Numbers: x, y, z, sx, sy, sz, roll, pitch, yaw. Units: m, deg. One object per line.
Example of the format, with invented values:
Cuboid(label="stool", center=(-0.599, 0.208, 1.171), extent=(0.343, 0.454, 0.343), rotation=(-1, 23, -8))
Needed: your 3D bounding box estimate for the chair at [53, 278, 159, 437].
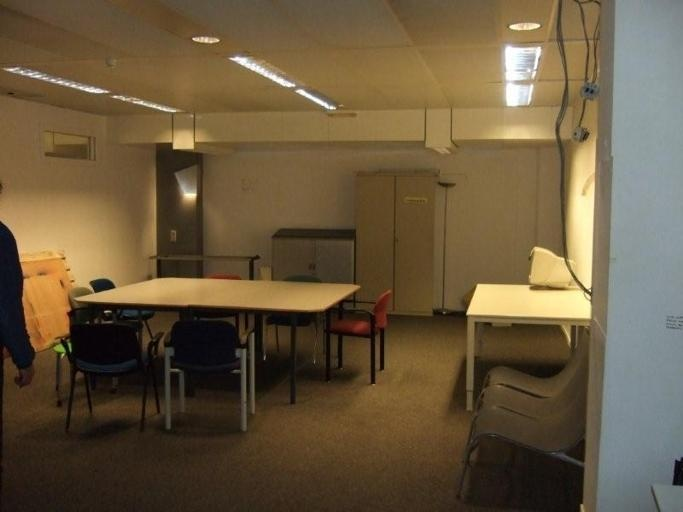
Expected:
Cuboid(label="chair", center=(-1.857, 0.856, 5.650), extent=(0.960, 1.506, 1.028), rotation=(0, 9, 0))

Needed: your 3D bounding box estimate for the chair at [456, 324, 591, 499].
Cuboid(label="chair", center=(1.359, 0.700, 4.588), extent=(0.876, 0.870, 1.770), rotation=(0, 2, 13))

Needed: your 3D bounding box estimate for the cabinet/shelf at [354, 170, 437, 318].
Cuboid(label="cabinet/shelf", center=(0.842, -0.187, 9.706), extent=(1.238, 2.243, 0.355), rotation=(0, 8, 1))

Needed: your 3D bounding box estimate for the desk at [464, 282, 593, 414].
Cuboid(label="desk", center=(1.809, 1.062, 6.015), extent=(0.988, 0.821, 1.567), rotation=(1, 6, 11))

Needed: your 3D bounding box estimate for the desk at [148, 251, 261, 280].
Cuboid(label="desk", center=(-2.232, 0.181, 10.238), extent=(1.837, 0.546, 1.493), rotation=(1, 8, 3))

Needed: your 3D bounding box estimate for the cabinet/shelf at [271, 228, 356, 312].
Cuboid(label="cabinet/shelf", center=(-0.439, 0.070, 10.249), extent=(1.400, 1.437, 0.805), rotation=(2, 7, 6))

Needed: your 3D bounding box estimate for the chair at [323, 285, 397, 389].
Cuboid(label="chair", center=(0.223, 0.890, 7.042), extent=(0.910, 1.404, 0.850), rotation=(1, 2, 10))

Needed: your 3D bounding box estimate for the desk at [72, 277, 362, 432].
Cuboid(label="desk", center=(-1.217, 1.290, 6.759), extent=(1.847, 0.995, 1.587), rotation=(1, 3, 13))
